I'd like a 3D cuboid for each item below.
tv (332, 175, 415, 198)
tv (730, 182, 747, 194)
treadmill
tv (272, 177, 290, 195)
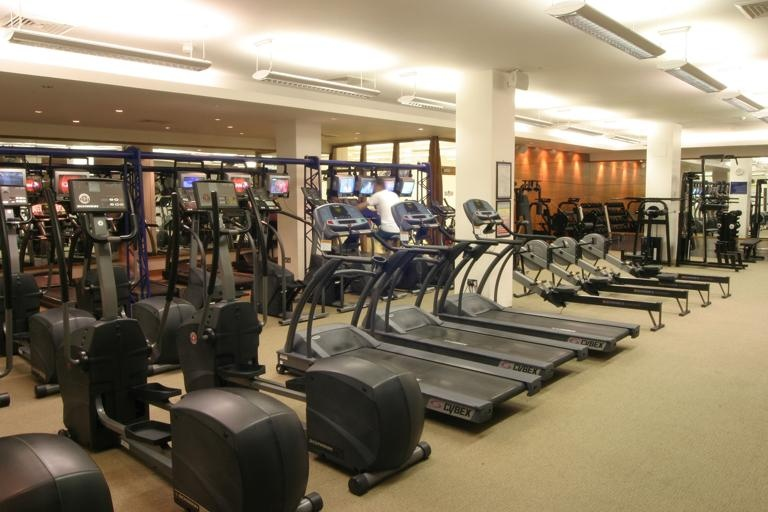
[{"bbox_3d":[-0.340,-1.407,10.831,2.295,0.429,0.509,-4,15,-38],"label":"tv"},{"bbox_3d":[10.402,-2.012,15.891,0.118,0.282,0.347,-18,17,-42],"label":"tv"},{"bbox_3d":[0.906,0.374,6.498,3.076,1.855,3.295,8,15,33],"label":"treadmill"},{"bbox_3d":[-1.762,-1.183,9.138,0.216,0.314,0.401,4,5,34],"label":"tv"}]
